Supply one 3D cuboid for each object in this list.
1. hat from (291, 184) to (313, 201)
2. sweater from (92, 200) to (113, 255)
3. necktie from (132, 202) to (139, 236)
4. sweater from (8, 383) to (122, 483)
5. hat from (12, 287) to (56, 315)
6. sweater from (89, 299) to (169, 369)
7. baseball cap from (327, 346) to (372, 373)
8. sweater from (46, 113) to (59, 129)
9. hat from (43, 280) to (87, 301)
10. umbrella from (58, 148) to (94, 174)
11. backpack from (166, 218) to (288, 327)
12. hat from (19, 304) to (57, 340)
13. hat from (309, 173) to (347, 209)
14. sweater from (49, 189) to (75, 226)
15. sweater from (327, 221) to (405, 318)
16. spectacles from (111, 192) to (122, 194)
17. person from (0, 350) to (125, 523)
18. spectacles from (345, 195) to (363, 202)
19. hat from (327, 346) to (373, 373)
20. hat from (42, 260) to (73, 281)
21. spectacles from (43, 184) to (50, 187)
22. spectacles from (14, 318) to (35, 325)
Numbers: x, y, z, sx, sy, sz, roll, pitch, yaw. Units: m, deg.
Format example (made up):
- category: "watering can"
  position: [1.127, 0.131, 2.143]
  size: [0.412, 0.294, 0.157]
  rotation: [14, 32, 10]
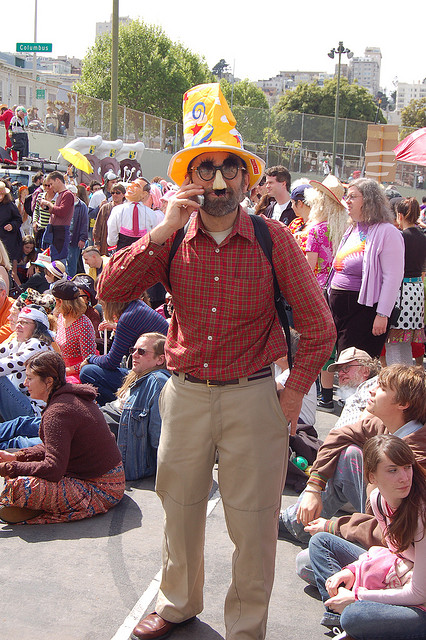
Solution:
- category: "hat"
  position: [0.913, -1.326, 6.222]
  size: [0.206, 0.145, 0.139]
  rotation: [5, 9, 5]
- category: "sweater"
  position: [-1.864, -1.570, 10.226]
  size: [0.251, 0.898, 0.556]
  rotation: [1, 5, -18]
- category: "necktie"
  position: [-1.068, -1.401, 8.317]
  size: [0.089, 0.464, 0.079]
  rotation: [0, 6, -29]
- category: "sweater"
  position: [-0.847, 0.664, 3.628]
  size: [0.611, 0.448, 0.585]
  rotation: [0, 0, 1]
- category: "hat"
  position: [-1.705, -0.211, 5.842]
  size: [0.292, 0.163, 0.362]
  rotation: [15, 0, -24]
- category: "sweater"
  position: [-0.692, 0.121, 5.300]
  size: [0.683, 0.468, 0.517]
  rotation: [1, 5, 0]
- category: "baseball cap"
  position: [0.985, 0.290, 4.372]
  size: [0.280, 0.131, 0.179]
  rotation: [-2, -16, -3]
- category: "sweater"
  position: [-6.470, -8.116, 24.150]
  size: [0.307, 0.632, 0.634]
  rotation: [5, 5, 26]
- category: "hat"
  position: [-1.420, -0.292, 5.668]
  size: [0.267, 0.114, 0.168]
  rotation: [11, 25, 27]
- category: "umbrella"
  position: [-3.134, -3.666, 13.743]
  size: [0.612, 0.667, 1.254]
  rotation: [1, 4, -17]
- category: "backpack"
  position: [0.082, -0.198, 2.304]
  size: [0.333, 0.409, 0.443]
  rotation: [-2, 9, 3]
- category: "hat"
  position: [-1.532, 0.016, 5.272]
  size: [0.280, 0.273, 0.548]
  rotation: [2, 4, -14]
- category: "hat"
  position: [1.149, -1.316, 6.107]
  size: [0.365, 0.378, 0.579]
  rotation: [3, 4, 8]
- category: "sweater"
  position: [-2.467, -1.846, 9.814]
  size: [0.341, 0.535, 0.512]
  rotation: [12, 14, -11]
- category: "sweater"
  position: [1.361, -0.516, 5.411]
  size: [0.478, 0.815, 0.817]
  rotation: [-3, 14, -29]
- category: "spectacles"
  position: [-1.638, -2.166, 10.221]
  size: [0.161, 0.036, 0.107]
  rotation: [2, 4, -2]
- category: "person"
  position: [-0.824, 0.775, 3.977]
  size: [0.995, 1.063, 0.896]
  rotation: [1, -6, -6]
- category: "spectacles"
  position: [1.213, -1.048, 5.153]
  size: [0.091, 0.024, 0.083]
  rotation: [0, -1, -13]
- category: "hat"
  position: [0.989, 0.292, 4.365]
  size: [0.276, 0.123, 0.176]
  rotation: [-2, -19, -5]
- category: "hat"
  position: [-1.913, -0.603, 7.258]
  size: [0.264, 0.193, 0.427]
  rotation: [1, 4, -16]
- category: "spectacles"
  position: [-2.742, -2.237, 9.966]
  size: [0.117, 0.045, 0.026]
  rotation: [5, 5, 31]
- category: "spectacles"
  position: [-1.552, 0.021, 5.035]
  size: [0.119, 0.032, 0.113]
  rotation: [8, -5, -42]
